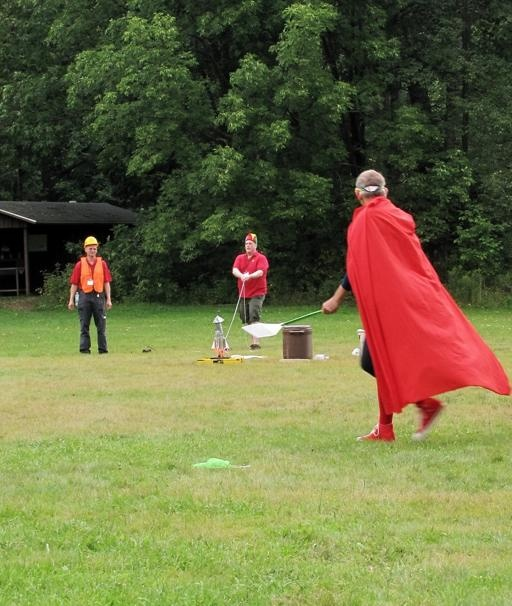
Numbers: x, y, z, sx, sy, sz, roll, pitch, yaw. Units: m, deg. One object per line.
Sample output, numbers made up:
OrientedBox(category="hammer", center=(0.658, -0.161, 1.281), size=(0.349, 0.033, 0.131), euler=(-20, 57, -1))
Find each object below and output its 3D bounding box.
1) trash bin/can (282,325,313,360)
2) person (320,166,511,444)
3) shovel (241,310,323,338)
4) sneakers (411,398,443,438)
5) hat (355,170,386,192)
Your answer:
OrientedBox(category="trash bin/can", center=(0.573, 0.521, 18.520), size=(0.514, 0.437, 0.447), euler=(0, -3, -2))
OrientedBox(category="person", center=(1.416, 0.015, 12.188), size=(1.488, 2.364, 0.865), euler=(0, 8, 15))
OrientedBox(category="shovel", center=(0.447, 0.342, 22.234), size=(1.101, 0.147, 0.255), euler=(-19, -2, 26))
OrientedBox(category="sneakers", center=(1.527, 0.997, 12.116), size=(0.212, 0.434, 0.147), euler=(12, 35, -5))
OrientedBox(category="hat", center=(1.065, -1.143, 12.534), size=(0.199, 0.201, 0.247), euler=(3, 25, -1))
